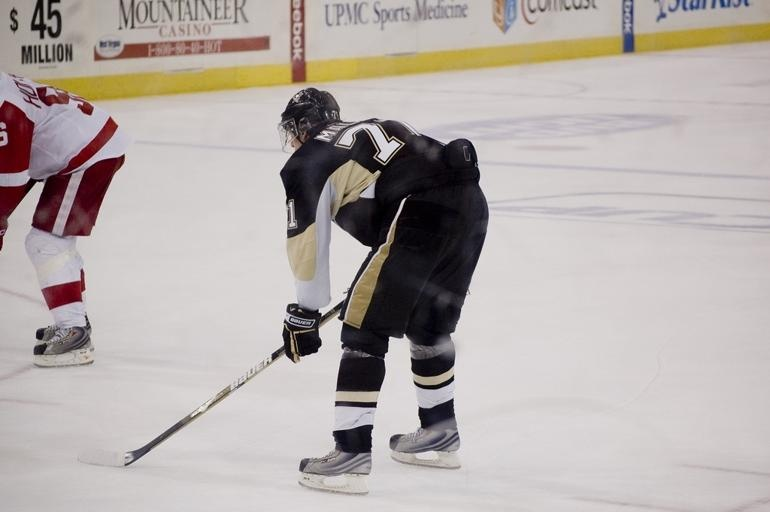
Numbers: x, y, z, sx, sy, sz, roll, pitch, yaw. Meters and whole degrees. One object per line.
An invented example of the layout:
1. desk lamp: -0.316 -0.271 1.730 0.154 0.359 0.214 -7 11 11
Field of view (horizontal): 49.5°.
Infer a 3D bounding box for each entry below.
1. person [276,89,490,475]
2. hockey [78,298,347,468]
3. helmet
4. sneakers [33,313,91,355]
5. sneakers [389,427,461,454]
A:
1. person: -0.004 0.177 3.308 0.797 1.362 0.419 -2 14 -8
2. hockey: -0.776 0.598 3.766 1.192 0.168 0.099 -31 20 -18
3. helmet: -0.276 -0.560 3.490 0.271 0.242 0.215 4 11 11
4. sneakers: -1.587 0.356 4.169 0.365 0.136 0.118 -15 48 -24
5. sneakers: 0.171 0.754 3.450 0.293 0.118 0.104 1 0 9
